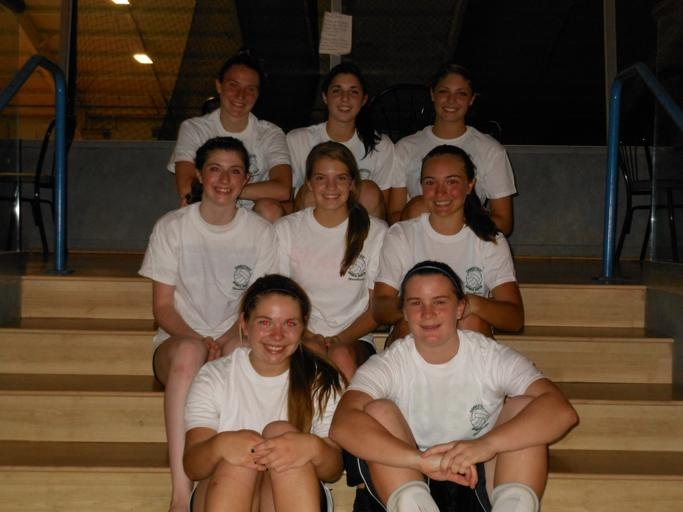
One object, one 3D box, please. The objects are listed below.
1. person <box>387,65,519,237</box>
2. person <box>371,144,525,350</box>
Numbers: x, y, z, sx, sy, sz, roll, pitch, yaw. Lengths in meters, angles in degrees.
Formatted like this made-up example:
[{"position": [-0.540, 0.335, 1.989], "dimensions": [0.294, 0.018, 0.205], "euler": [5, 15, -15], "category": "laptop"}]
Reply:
[{"position": [0.644, -0.559, 4.026], "dimensions": [0.831, 1.142, 0.684], "euler": [5, 48, 14], "category": "person"}, {"position": [0.559, -0.082, 3.560], "dimensions": [0.843, 1.290, 0.971], "euler": [2, 25, 2], "category": "person"}]
